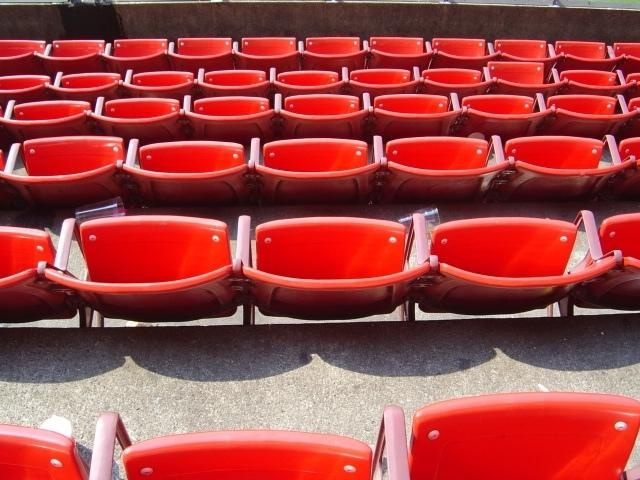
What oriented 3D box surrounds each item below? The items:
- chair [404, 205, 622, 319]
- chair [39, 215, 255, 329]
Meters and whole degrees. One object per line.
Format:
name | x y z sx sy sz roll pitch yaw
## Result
chair | 1.316 0.130 3.896 1.021 1.089 0.748 -1 71 10
chair | -1.068 0.167 3.633 0.954 0.861 0.795 1 51 -8
